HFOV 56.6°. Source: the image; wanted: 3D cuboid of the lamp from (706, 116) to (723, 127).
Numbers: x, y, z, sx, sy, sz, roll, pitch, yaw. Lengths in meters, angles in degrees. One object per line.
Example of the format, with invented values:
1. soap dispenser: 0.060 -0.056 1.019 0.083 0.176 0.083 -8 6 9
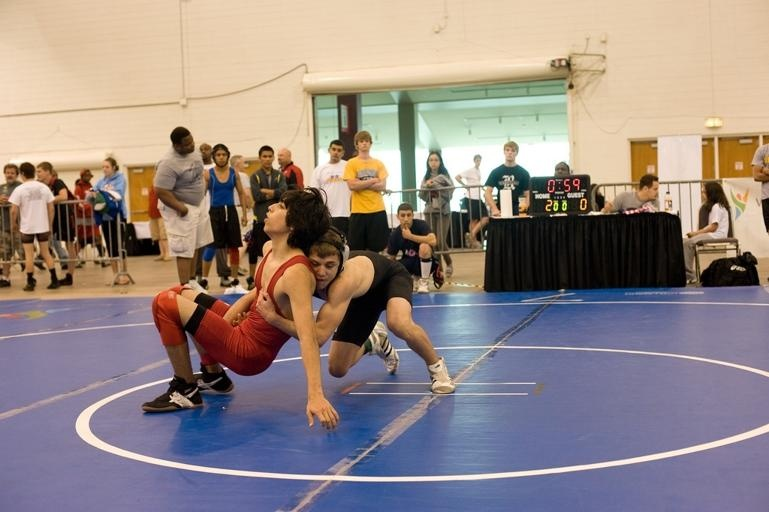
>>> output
1. lamp: 7.082 -2.905 15.439 0.235 0.238 0.058 3 2 15

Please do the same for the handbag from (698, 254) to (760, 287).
1. handbag: 4.944 0.187 10.201 0.773 0.452 0.422 2 14 17

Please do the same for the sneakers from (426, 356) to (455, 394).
1. sneakers: 0.471 1.011 6.144 0.192 0.250 0.558 -9 1 -2

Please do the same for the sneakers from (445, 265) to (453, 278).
1. sneakers: 1.121 0.263 12.638 0.178 0.250 0.557 -1 -2 6

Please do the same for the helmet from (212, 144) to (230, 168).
1. helmet: -2.515 -1.532 10.929 0.268 0.413 0.391 -2 -3 -11

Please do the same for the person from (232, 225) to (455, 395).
1. person: -0.332 0.464 5.975 1.481 1.633 0.977 -14 9 -32

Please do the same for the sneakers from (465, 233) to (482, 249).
1. sneakers: 1.740 -0.295 14.222 0.191 0.244 0.578 -4 -2 -15
